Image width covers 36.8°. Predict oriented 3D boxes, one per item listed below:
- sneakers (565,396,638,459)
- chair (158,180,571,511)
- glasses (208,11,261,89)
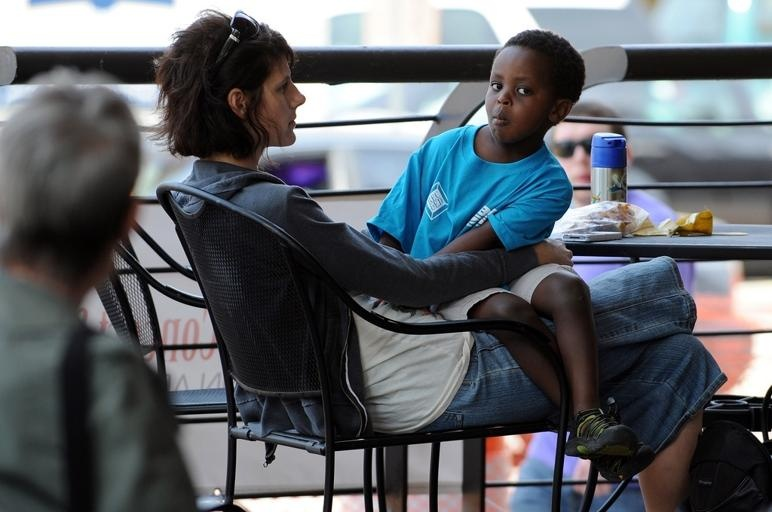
[{"bbox_3d":[0.545,0.444,2.904,0.098,0.087,0.186,0,-9,-29],"label":"sneakers"},{"bbox_3d":[0.079,0.216,2.962,1.104,0.943,0.732,1,0,-32],"label":"chair"},{"bbox_3d":[-0.384,-0.508,2.914,0.101,0.197,0.062,38,-12,4],"label":"glasses"}]
